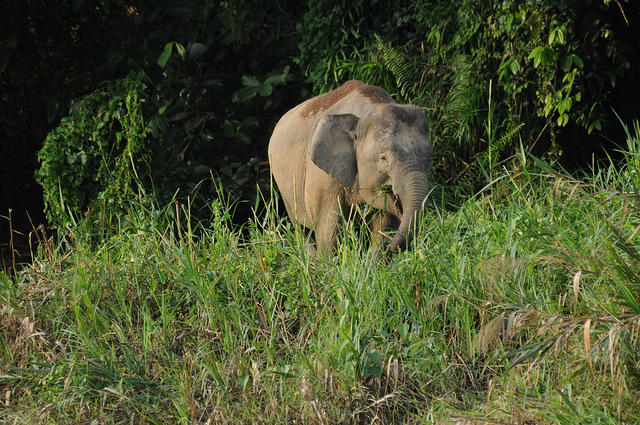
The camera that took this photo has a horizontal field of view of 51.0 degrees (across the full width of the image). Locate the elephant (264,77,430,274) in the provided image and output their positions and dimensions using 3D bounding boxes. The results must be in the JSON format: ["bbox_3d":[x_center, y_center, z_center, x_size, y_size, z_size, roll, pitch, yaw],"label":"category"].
[{"bbox_3d":[0.224,-0.185,6.687,0.994,2.097,2.273,-6,7,-35],"label":"elephant"}]
